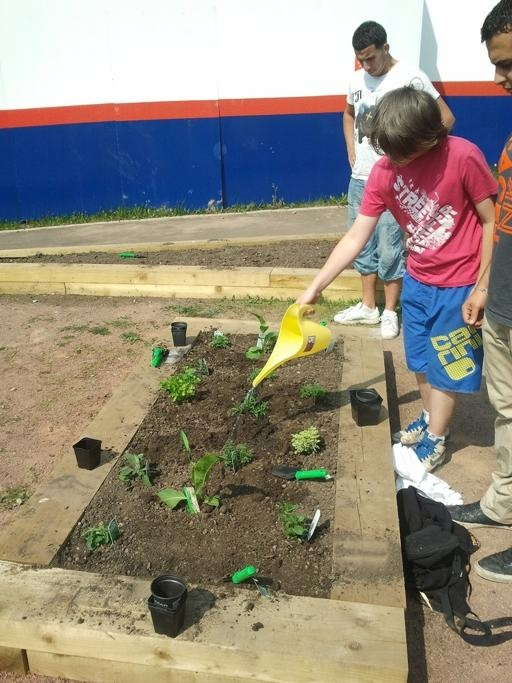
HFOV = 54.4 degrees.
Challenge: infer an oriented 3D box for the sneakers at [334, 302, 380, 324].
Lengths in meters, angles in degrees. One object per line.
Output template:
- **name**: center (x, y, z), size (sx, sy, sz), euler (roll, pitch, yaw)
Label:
- **sneakers**: center (0.944, -0.263, 4.719), size (0.465, 0.195, 0.172), euler (0, 25, 0)

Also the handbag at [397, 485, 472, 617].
- **handbag**: center (0.798, 0.849, 2.117), size (0.299, 0.094, 0.525), euler (-13, 37, 7)

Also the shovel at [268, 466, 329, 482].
- **shovel**: center (0.209, 0.641, 2.395), size (0.294, 0.051, 0.098), euler (-5, 15, 20)

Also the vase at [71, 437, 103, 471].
- **vase**: center (-0.831, 0.553, 2.520), size (0.180, 0.135, 0.147), euler (8, 15, 18)

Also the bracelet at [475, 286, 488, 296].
- **bracelet**: center (0.977, -0.215, 2.131), size (0.041, 0.037, 0.024), euler (-1, 13, -6)

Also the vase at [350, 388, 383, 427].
- **vase**: center (0.600, 0.386, 2.806), size (0.202, 0.234, 0.197), euler (-5, 28, -2)

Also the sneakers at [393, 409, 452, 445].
- **sneakers**: center (1.003, 0.494, 2.974), size (0.295, 0.169, 0.098), euler (-13, 34, -6)

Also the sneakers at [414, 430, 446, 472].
- **sneakers**: center (0.997, 0.562, 2.794), size (0.116, 0.186, 0.313), euler (34, 28, 13)

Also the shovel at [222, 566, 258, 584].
- **shovel**: center (-0.058, 0.859, 1.829), size (0.120, 0.037, 0.039), euler (-34, 21, 29)

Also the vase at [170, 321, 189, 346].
- **vase**: center (-0.576, -0.066, 3.852), size (0.175, 0.180, 0.175), euler (1, 8, 5)
